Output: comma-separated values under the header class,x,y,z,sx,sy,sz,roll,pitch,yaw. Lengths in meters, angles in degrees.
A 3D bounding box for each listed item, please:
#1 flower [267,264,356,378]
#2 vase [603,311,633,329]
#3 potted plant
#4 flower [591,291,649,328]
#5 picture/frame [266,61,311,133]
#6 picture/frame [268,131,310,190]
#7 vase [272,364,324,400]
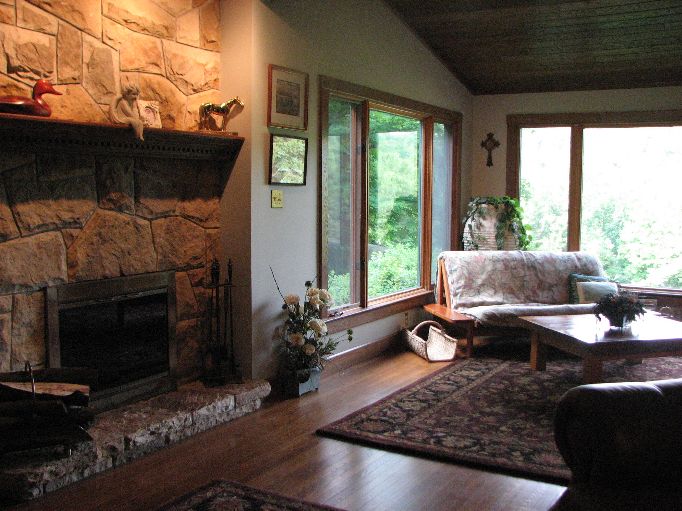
class,x,y,z,sx,sy,sz,roll,pitch,yaw
flower,-0.244,0.632,4.251,0.533,0.675,0.511,-6,6,-36
vase,2.318,0.535,4.234,0.172,0.129,0.138,0,1,16
potted plant,1.948,-0.453,6.363,0.841,0.886,0.707,4,48,23
flower,2.427,0.435,4.326,0.383,0.299,0.370,1,9,-4
picture/frame,-0.436,-1.281,4.079,0.058,0.592,0.636,7,9,41
picture/frame,-0.414,-0.782,4.144,0.025,0.409,0.447,6,10,37
vase,-0.320,1.050,4.263,0.172,0.188,0.319,-5,-7,30
